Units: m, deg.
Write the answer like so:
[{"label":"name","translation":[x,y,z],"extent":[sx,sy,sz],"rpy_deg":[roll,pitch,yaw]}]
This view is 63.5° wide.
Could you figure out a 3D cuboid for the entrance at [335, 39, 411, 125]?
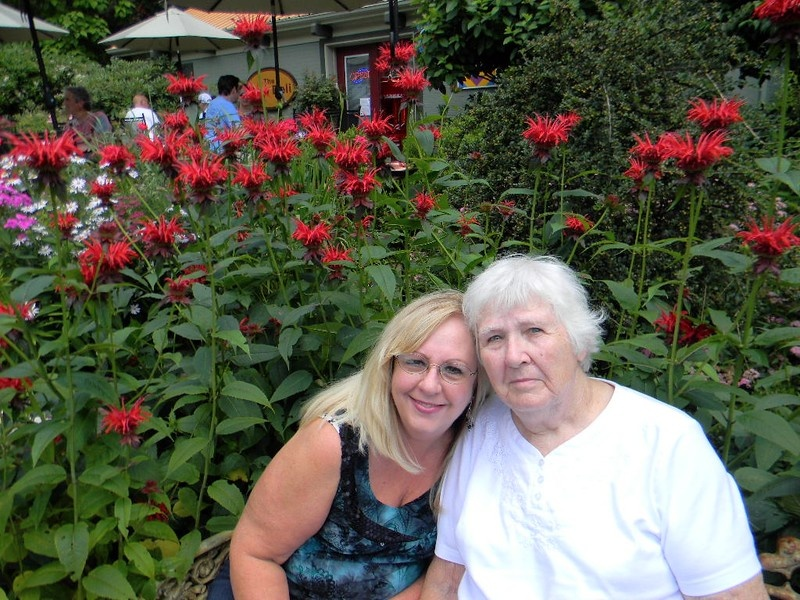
[{"label":"entrance","translation":[-0.475,-4.672,14.108],"extent":[1.827,2.159,0.157],"rpy_deg":[-4,-15,5]}]

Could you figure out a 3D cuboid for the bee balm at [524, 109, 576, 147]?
[{"label":"bee balm","translation":[0.755,-0.844,3.227],"extent":[0.240,0.163,0.358],"rpy_deg":[3,19,13]}]

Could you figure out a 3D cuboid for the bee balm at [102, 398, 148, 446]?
[{"label":"bee balm","translation":[-1.063,0.465,2.478],"extent":[0.187,0.165,0.175],"rpy_deg":[-11,0,-37]}]

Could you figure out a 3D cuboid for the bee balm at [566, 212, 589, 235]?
[{"label":"bee balm","translation":[0.891,-0.374,3.227],"extent":[0.118,0.110,0.189],"rpy_deg":[4,19,15]}]

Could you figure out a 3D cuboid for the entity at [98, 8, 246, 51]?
[{"label":"entity","translation":[-3.854,-4.488,10.694],"extent":[1.734,0.837,3.960],"rpy_deg":[-7,20,-18]}]

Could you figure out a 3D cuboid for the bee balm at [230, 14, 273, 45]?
[{"label":"bee balm","translation":[-0.780,-1.399,3.370],"extent":[0.183,0.169,0.289],"rpy_deg":[-5,19,-12]}]

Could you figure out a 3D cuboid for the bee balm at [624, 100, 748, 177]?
[{"label":"bee balm","translation":[1.224,-0.659,2.724],"extent":[0.365,0.359,0.484],"rpy_deg":[-1,19,1]}]

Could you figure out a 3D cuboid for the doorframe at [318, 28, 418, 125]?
[{"label":"doorframe","translation":[-0.481,-4.592,14.256],"extent":[1.946,2.292,0.165],"rpy_deg":[-1,0,8]}]
